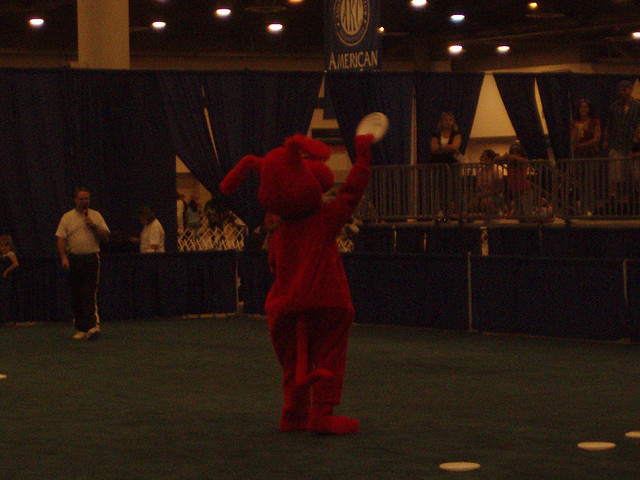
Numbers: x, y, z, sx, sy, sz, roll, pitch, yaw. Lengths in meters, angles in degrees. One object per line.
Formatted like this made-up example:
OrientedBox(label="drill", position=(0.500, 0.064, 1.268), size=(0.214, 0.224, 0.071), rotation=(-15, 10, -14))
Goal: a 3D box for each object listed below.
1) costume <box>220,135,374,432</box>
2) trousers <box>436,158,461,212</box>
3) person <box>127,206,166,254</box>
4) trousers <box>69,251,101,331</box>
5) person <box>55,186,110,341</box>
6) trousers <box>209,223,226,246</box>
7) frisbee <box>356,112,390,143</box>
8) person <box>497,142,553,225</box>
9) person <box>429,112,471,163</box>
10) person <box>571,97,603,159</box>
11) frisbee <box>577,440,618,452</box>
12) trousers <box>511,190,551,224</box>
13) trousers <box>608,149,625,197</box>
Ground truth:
OrientedBox(label="costume", position=(-0.055, 0.401, 8.628), size=(0.990, 2.719, 0.692), rotation=(-1, 5, 0))
OrientedBox(label="trousers", position=(2.008, -0.851, 14.525), size=(0.319, 0.820, 0.684), rotation=(0, 5, 7))
OrientedBox(label="person", position=(-2.778, -0.155, 14.933), size=(0.569, 0.724, 0.557), rotation=(-1, 5, 1))
OrientedBox(label="trousers", position=(-3.287, 0.731, 13.094), size=(0.386, 1.113, 0.281), rotation=(-2, 5, -7))
OrientedBox(label="person", position=(-3.286, 0.358, 13.058), size=(0.674, 2.121, 0.363), rotation=(-2, 6, -14))
OrientedBox(label="trousers", position=(-1.870, -0.095, 16.529), size=(0.382, 0.386, 0.104), rotation=(-7, -3, -32))
OrientedBox(label="frisbee", position=(0.477, -1.041, 8.681), size=(0.263, 0.283, 0.448), rotation=(-1, 5, 2))
OrientedBox(label="person", position=(3.024, -0.728, 13.847), size=(0.419, 1.026, 0.862), rotation=(-5, 7, -35))
OrientedBox(label="person", position=(2.010, -1.616, 14.847), size=(0.618, 0.780, 0.346), rotation=(2, 6, 24))
OrientedBox(label="person", position=(4.208, -1.768, 14.834), size=(0.426, 0.913, 0.644), rotation=(0, 6, 13))
OrientedBox(label="frisbee", position=(2.399, 1.782, 8.109), size=(0.331, 0.039, 0.361), rotation=(1, 6, 17))
OrientedBox(label="trousers", position=(3.038, -0.490, 13.871), size=(0.507, 0.649, 0.440), rotation=(-5, -6, 36))
OrientedBox(label="trousers", position=(4.329, -0.983, 13.710), size=(0.232, 0.676, 1.525), rotation=(1, 6, 17))
